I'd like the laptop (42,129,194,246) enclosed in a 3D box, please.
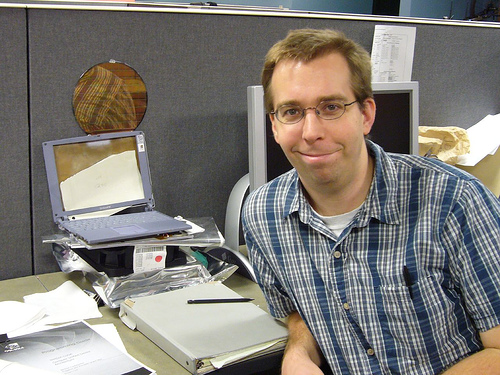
[{"bbox_3d":[-0.365,-0.016,1.106,0.344,0.231,0.329,-10,21,-33],"label":"laptop"}]

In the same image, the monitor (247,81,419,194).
[{"bbox_3d":[0.274,-0.174,1.291,0.481,0.310,0.109,-2,28,2],"label":"monitor"}]

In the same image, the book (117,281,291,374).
[{"bbox_3d":[-0.091,0.281,0.816,0.213,0.043,0.205,-7,21,-37],"label":"book"}]
